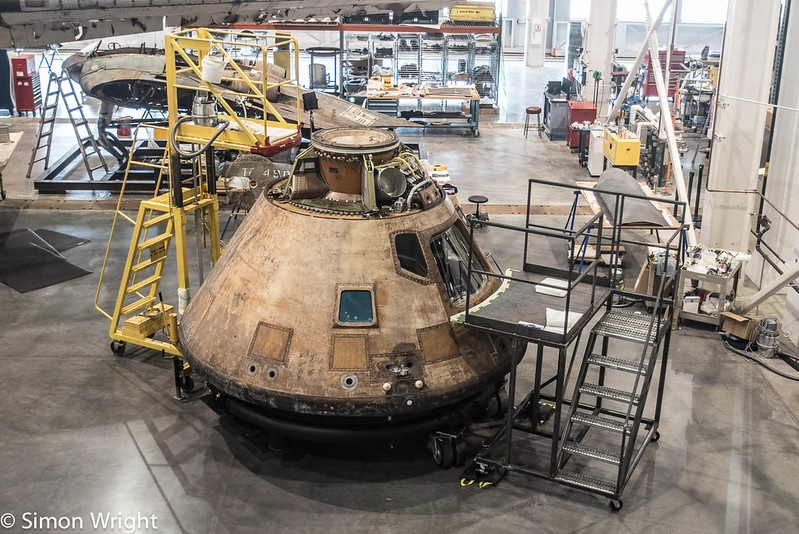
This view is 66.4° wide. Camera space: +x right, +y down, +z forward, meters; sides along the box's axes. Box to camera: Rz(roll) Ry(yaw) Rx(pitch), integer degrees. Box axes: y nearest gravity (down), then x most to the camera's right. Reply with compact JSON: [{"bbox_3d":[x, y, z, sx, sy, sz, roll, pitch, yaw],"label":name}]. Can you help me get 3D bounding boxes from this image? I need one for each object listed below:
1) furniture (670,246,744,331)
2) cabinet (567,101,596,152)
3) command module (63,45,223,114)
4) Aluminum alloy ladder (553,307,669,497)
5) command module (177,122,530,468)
[{"bbox_3d":[7.310,0.546,14.527,1.106,1.280,1.911,7,15,32],"label":"furniture"},{"bbox_3d":[8.048,-6.257,27.105,1.213,2.092,1.541,6,21,14],"label":"cabinet"},{"bbox_3d":[-9.528,-6.685,21.521,5.168,1.733,3.564,1,2,10],"label":"command module"},{"bbox_3d":[3.831,2.546,11.006,1.023,3.043,2.810,14,20,36],"label":"Aluminum alloy ladder"},{"bbox_3d":[-0.650,-0.198,12.622,6.519,5.123,6.399,18,34,31],"label":"command module"}]
